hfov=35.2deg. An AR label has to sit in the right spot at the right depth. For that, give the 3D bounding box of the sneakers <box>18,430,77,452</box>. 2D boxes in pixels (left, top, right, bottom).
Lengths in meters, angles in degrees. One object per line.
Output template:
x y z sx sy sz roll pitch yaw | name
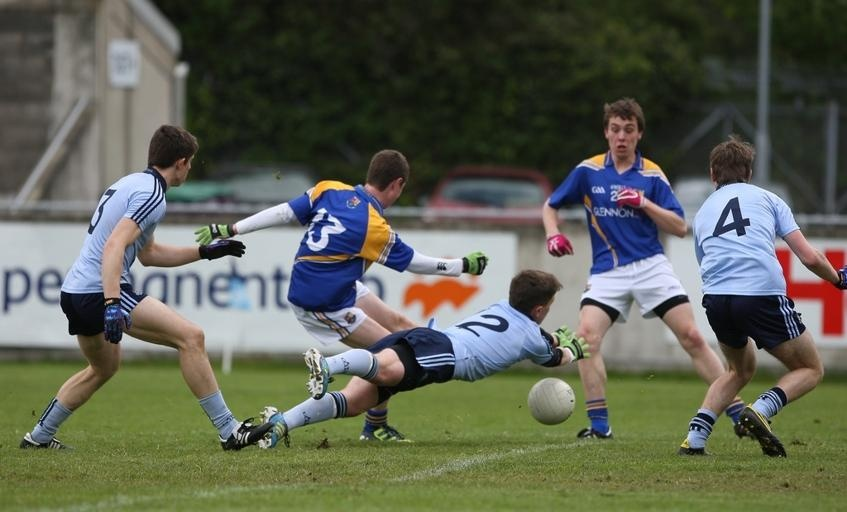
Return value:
-4.878 2.375 17.333 0.687 0.289 0.235 2 1 -8 | sneakers

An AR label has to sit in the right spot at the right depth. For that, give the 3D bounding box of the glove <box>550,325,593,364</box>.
1.991 1.164 17.709 0.462 0.154 0.457 22 17 -46 | glove

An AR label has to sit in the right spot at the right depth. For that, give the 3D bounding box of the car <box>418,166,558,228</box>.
1.376 -1.189 26.746 1.690 1.292 2.627 1 -7 -2 | car

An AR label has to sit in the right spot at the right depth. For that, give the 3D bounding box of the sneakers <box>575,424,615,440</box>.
2.331 2.366 18.131 0.501 0.214 0.182 6 -2 1 | sneakers

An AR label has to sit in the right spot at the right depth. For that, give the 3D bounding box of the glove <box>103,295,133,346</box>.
-3.905 0.796 16.963 0.382 0.530 0.176 0 1 -11 | glove

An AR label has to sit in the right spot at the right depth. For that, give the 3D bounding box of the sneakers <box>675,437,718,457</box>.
3.495 2.446 17.272 0.296 0.210 0.203 8 -9 7 | sneakers

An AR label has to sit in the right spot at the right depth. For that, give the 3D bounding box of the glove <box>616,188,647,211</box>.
2.791 -0.781 18.017 0.374 0.276 0.260 1 6 7 | glove

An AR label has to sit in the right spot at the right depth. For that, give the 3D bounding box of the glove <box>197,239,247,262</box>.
-2.689 -0.108 17.767 0.468 0.182 0.298 -12 8 12 | glove
